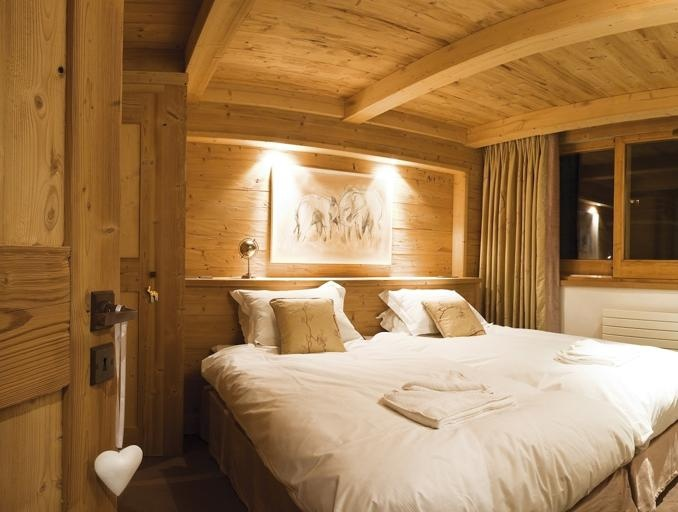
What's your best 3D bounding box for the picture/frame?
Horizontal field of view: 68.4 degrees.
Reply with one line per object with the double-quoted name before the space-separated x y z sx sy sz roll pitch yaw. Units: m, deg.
"picture/frame" -0.040 -0.360 4.477 1.364 0.856 0.036 4 5 36
